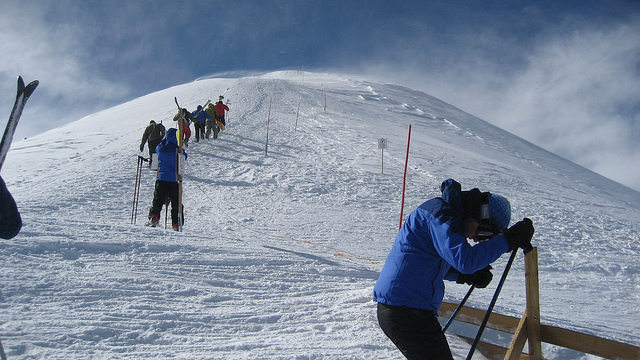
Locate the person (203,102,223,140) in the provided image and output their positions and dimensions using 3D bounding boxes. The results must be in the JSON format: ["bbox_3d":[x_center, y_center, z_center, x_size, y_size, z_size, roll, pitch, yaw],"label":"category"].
[{"bbox_3d":[-5.141,-2.666,25.273,0.972,1.902,0.657,-10,-20,13],"label":"person"}]

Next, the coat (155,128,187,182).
[{"bbox_3d":[-4.710,-0.799,16.593,0.778,1.749,0.384,10,-13,-14],"label":"coat"}]

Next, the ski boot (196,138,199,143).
[{"bbox_3d":[-5.581,-1.805,24.245,0.127,0.198,0.116,2,6,-2],"label":"ski boot"}]

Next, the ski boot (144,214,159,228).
[{"bbox_3d":[-5.120,1.265,16.190,0.361,0.410,0.354,9,-13,-11],"label":"ski boot"}]

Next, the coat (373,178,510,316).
[{"bbox_3d":[2.543,1.428,11.725,2.474,2.866,0.624,5,-13,7],"label":"coat"}]

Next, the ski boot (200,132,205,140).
[{"bbox_3d":[-5.497,-2.050,24.797,0.259,0.323,0.119,-3,8,-25],"label":"ski boot"}]
